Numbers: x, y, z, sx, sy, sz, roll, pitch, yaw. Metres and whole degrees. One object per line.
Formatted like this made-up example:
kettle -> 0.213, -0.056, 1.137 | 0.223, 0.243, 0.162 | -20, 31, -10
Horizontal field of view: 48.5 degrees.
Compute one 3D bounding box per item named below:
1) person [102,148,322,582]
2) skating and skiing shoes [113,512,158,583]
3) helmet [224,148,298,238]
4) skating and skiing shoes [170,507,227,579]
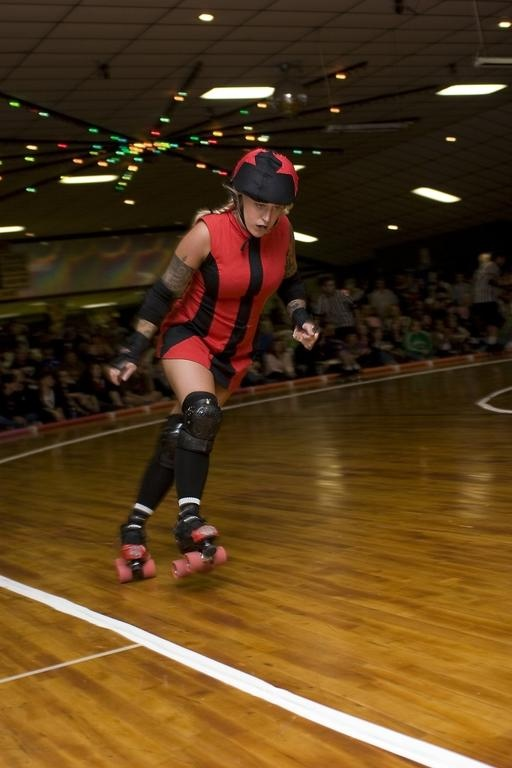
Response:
person -> -0.153, -0.048, 1.753 | 0.558, 1.308, 0.699 | 12, -8, -27
skating and skiing shoes -> -0.359, 0.472, 1.697 | 0.118, 0.210, 0.077 | -4, -12, -9
helmet -> 0.018, -0.580, 1.653 | 0.202, 0.234, 0.209 | -7, -2, 1
skating and skiing shoes -> -0.171, 0.440, 1.560 | 0.125, 0.168, 0.223 | -6, -3, -27
